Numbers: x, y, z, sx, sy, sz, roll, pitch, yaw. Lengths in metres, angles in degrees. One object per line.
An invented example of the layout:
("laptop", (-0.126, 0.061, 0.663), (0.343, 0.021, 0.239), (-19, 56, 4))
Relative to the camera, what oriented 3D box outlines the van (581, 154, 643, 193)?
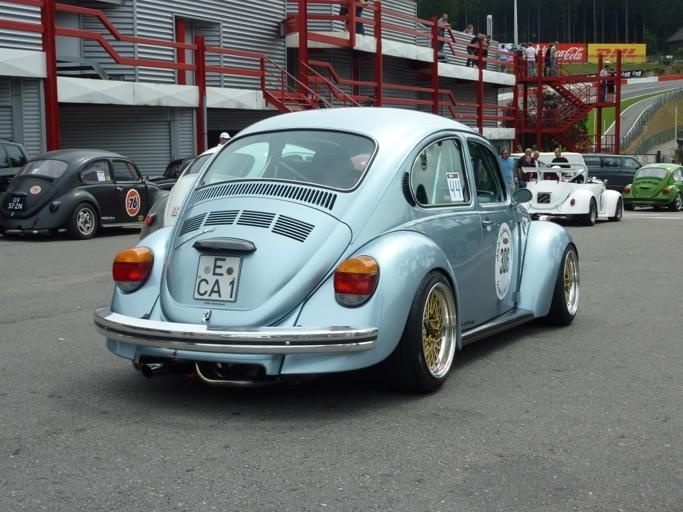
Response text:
("van", (13.688, -4.456, 30.122), (3.887, 2.149, 2.286), (-1, 9, 5))
